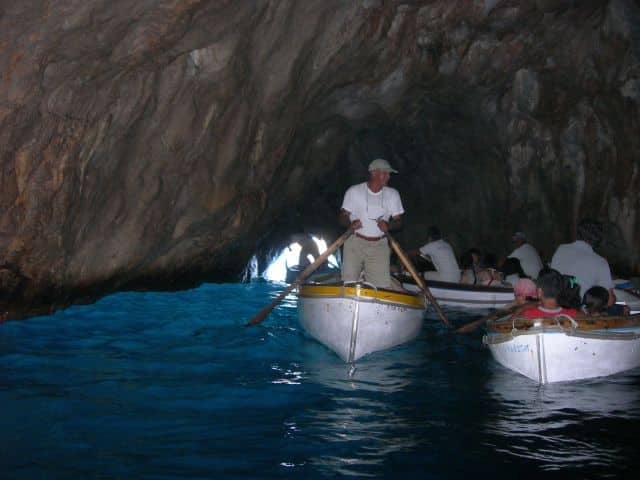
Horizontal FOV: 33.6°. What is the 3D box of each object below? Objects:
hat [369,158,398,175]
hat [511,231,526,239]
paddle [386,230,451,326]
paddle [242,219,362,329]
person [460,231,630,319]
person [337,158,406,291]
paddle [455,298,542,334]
[{"bbox_3d":[1.043,-1.212,17.455,0.434,0.270,0.344,2,2,17],"label":"hat"},{"bbox_3d":[3.986,-0.075,21.288,0.205,0.067,0.201,-6,8,-35],"label":"hat"},{"bbox_3d":[1.908,0.779,20.111,0.252,1.963,0.132,-36,-3,37],"label":"paddle"},{"bbox_3d":[-0.425,0.679,21.393,0.199,0.351,2.767,27,-62,-38],"label":"paddle"},{"bbox_3d":[4.083,0.666,18.839,1.357,1.073,0.451,-18,-1,12],"label":"person"},{"bbox_3d":[0.807,0.036,17.718,0.966,2.767,0.958,5,21,1],"label":"person"},{"bbox_3d":[3.058,1.315,17.978,1.244,0.172,0.068,-33,-55,10],"label":"paddle"}]
